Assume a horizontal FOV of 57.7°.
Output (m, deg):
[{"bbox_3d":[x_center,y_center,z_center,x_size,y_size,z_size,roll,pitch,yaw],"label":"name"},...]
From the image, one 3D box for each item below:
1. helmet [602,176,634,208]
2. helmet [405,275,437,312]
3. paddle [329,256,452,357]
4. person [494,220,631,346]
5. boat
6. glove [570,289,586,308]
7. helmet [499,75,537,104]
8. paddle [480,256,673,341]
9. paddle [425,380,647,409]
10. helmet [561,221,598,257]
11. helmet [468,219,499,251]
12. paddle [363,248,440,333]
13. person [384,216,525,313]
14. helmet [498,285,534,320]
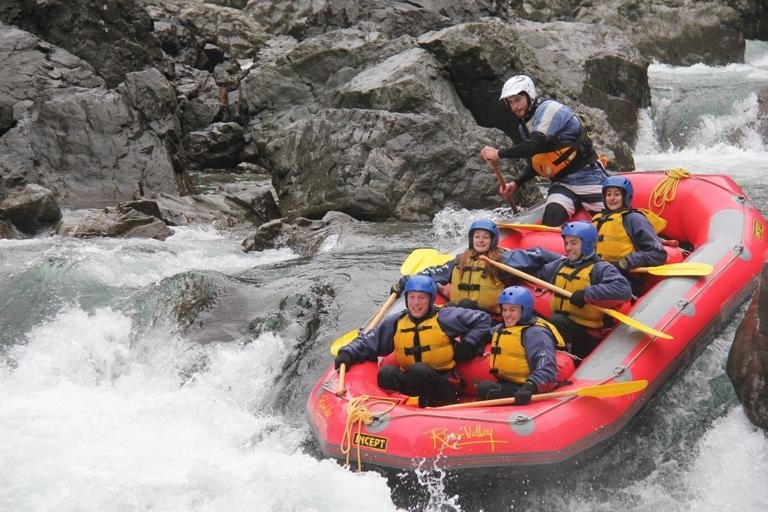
[{"bbox_3d":[2.735,-0.738,8.160,0.316,0.387,0.365,2,7,21],"label":"helmet"},{"bbox_3d":[0.384,0.387,7.441,0.363,0.357,0.435,5,2,18],"label":"helmet"},{"bbox_3d":[0.178,0.533,8.264,0.697,0.155,2.102,9,32,38],"label":"paddle"},{"bbox_3d":[1.966,0.339,7.551,1.209,0.858,1.403,3,67,59],"label":"person"},{"bbox_3d":[2.363,0.759,7.496,4.938,0.980,2.873,-37,47,-28],"label":"boat"},{"bbox_3d":[2.043,0.445,7.365,0.156,0.063,0.181,-5,62,36],"label":"glove"},{"bbox_3d":[1.662,-2.052,8.685,0.346,0.344,0.488,20,38,41],"label":"helmet"},{"bbox_3d":[2.053,0.475,7.460,2.027,0.148,0.198,23,82,24],"label":"paddle"},{"bbox_3d":[1.583,1.375,6.945,1.175,0.052,0.120,-11,8,8],"label":"paddle"},{"bbox_3d":[2.146,-0.198,7.513,0.419,0.321,0.317,-2,-1,-26],"label":"helmet"},{"bbox_3d":[1.183,-0.258,7.978,0.303,0.347,0.380,1,-5,16],"label":"helmet"},{"bbox_3d":[0.232,0.354,8.230,0.456,0.114,1.555,12,31,31],"label":"paddle"},{"bbox_3d":[1.000,0.169,8.101,1.268,0.539,1.217,0,14,8],"label":"person"},{"bbox_3d":[1.383,0.454,7.236,0.420,0.312,0.311,-3,12,-19],"label":"helmet"}]
